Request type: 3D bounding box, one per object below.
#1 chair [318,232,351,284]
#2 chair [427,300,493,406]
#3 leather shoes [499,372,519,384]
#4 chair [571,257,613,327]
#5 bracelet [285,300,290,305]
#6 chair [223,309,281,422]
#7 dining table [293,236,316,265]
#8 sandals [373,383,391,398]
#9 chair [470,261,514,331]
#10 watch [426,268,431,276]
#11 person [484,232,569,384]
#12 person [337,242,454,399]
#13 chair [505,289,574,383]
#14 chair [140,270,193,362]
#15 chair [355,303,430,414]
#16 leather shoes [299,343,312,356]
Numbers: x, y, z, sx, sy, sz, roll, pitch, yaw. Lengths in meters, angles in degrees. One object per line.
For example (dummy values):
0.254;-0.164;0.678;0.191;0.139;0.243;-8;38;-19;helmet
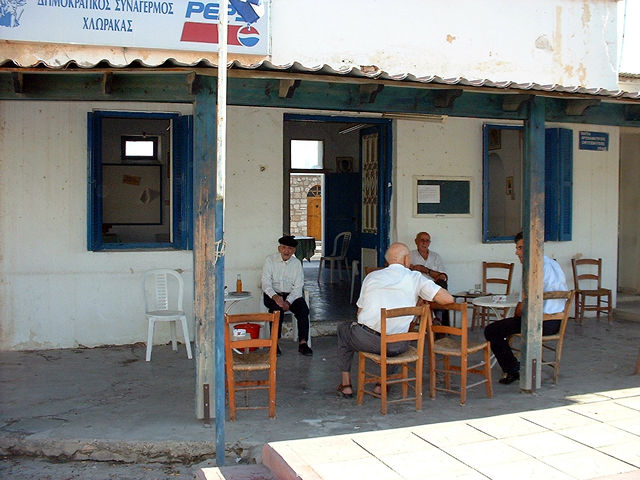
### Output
0.292;0.315;13.948;0.617;1.030;0.593;0;6;-10;chair
1.386;1.133;6.845;0.518;0.903;0.495;-11;-2;24;chair
2.122;1.504;7.255;0.258;0.109;0.088;-6;6;-11;leather shoes
4.219;0.768;10.217;0.653;0.925;0.633;-4;4;-36;chair
-0.412;0.783;8.376;0.062;0.046;0.061;1;-3;5;bracelet
-0.722;1.082;6.978;0.560;1.038;2.191;-4;6;-5;chair
-0.278;0.191;13.239;0.454;0.441;0.450;-1;3;-24;dining table
0.643;1.497;6.641;0.114;0.140;0.368;-1;-7;-6;sandals
2.534;0.820;9.571;0.544;0.980;0.605;1;2;30;chair
1.494;0.434;9.048;0.036;0.099;0.073;1;-12;0;watch
2.270;0.730;7.240;0.917;1.630;0.517;-2;6;8;person
0.732;0.920;6.879;0.877;1.641;1.192;6;4;-34;person
2.516;1.032;7.547;0.778;1.062;0.814;5;-3;-12;chair
-1.959;0.906;8.392;0.576;1.047;0.826;-4;6;-13;chair
0.753;1.143;6.564;0.575;1.016;0.556;0;-1;-22;chair
-0.175;1.362;8.331;0.149;0.133;0.218;-4;6;-9;leather shoes
